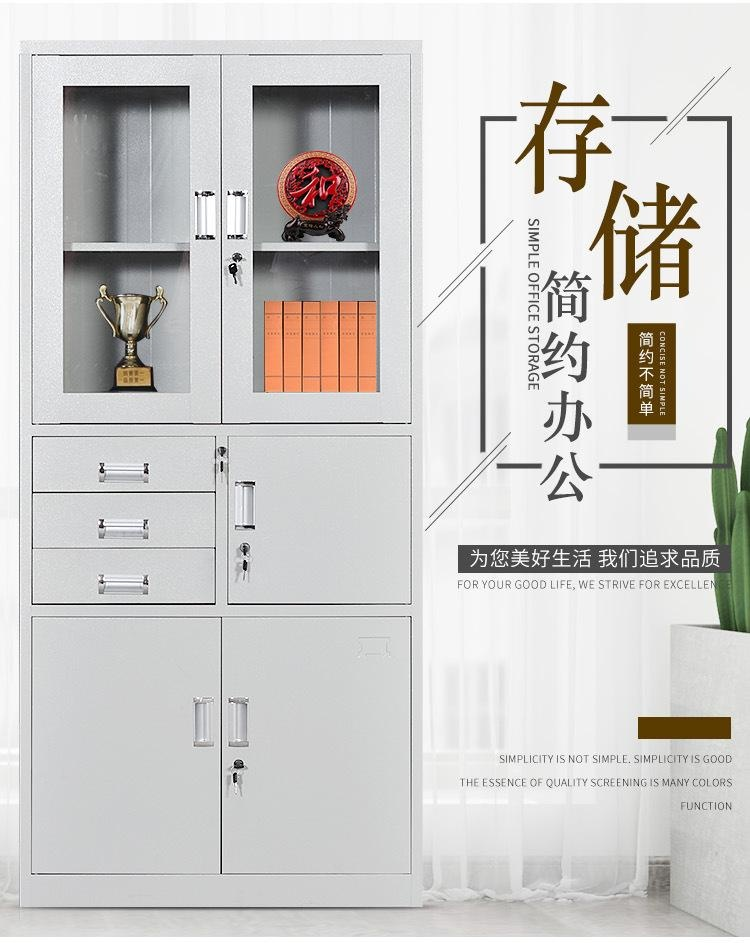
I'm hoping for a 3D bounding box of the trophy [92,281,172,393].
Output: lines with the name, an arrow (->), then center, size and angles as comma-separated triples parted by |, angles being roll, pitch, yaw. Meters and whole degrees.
trophy -> -0.586, -0.317, 3.235 | 0.219, 0.353, 0.130 | 1, -6, -8
